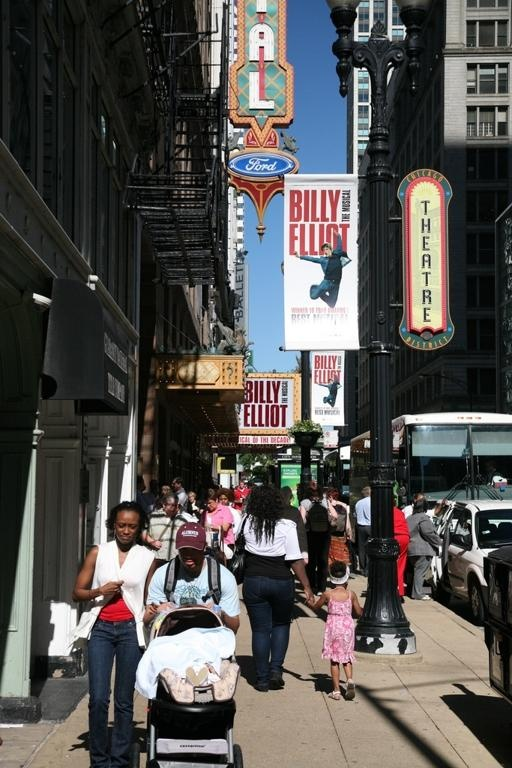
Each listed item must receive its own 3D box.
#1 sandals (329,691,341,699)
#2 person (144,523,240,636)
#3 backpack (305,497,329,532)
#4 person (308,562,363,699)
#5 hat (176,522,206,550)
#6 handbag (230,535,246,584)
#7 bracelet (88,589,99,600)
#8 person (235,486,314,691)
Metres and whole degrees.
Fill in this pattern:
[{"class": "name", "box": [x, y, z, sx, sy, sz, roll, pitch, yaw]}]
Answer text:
[{"class": "sandals", "box": [0.662, 2.547, 7.546, 0.101, 0.065, 0.160, -2, -8, 6]}, {"class": "person", "box": [-0.324, 1.102, 4.886, 0.453, 0.950, 0.573, 0, 6, 2]}, {"class": "backpack", "box": [1.008, 2.139, 14.822, 0.273, 0.523, 0.426, 0, -2, 7]}, {"class": "person", "box": [0.713, 2.072, 7.884, 0.388, 1.111, 0.935, -1, -7, 6]}, {"class": "hat", "box": [-0.345, 0.809, 4.896, 0.143, 0.145, 0.218, -8, -10, 44]}, {"class": "handbag", "box": [-0.134, 1.502, 7.918, 0.102, 0.478, 0.168, 6, -10, -8]}, {"class": "bracelet", "box": [-0.895, 1.142, 5.024, 0.048, 0.050, 0.057, -7, 4, -4]}, {"class": "person", "box": [0.132, 1.727, 7.854, 0.556, 1.746, 0.373, 0, -6, -2]}]
